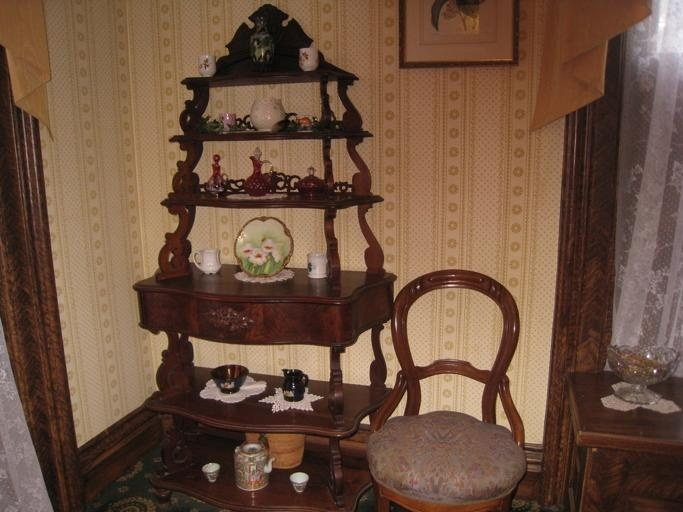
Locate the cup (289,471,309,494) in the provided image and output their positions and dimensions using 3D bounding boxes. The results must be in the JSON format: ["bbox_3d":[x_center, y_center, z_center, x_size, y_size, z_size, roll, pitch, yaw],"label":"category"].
[{"bbox_3d":[-0.243,1.307,3.525,0.114,0.084,0.140,2,6,-4],"label":"cup"}]

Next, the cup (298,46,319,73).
[{"bbox_3d":[-0.170,-1.096,3.404,0.136,0.164,0.139,0,11,0],"label":"cup"}]

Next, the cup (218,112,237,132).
[{"bbox_3d":[-0.652,-0.784,3.514,0.100,0.103,0.090,3,9,3],"label":"cup"}]

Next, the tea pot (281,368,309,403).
[{"bbox_3d":[-0.269,0.770,3.617,0.156,0.167,0.128,-1,7,-3],"label":"tea pot"}]

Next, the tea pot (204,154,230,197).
[{"bbox_3d":[-0.741,-0.502,3.686,0.137,0.245,0.144,1,14,0],"label":"tea pot"}]

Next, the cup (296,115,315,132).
[{"bbox_3d":[-0.205,-0.763,3.508,0.112,0.114,0.115,-1,12,0],"label":"cup"}]

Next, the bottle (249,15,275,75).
[{"bbox_3d":[-0.453,-1.203,3.447,0.133,0.321,0.091,-10,39,-17],"label":"bottle"}]

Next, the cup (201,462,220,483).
[{"bbox_3d":[-0.780,1.285,3.611,0.081,0.067,0.095,-1,-7,9],"label":"cup"}]

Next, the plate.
[{"bbox_3d":[-0.446,-0.055,3.590,0.311,0.342,0.045,11,-4,15],"label":"plate"}]

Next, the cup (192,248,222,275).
[{"bbox_3d":[-0.855,0.029,3.794,0.188,0.154,0.131,1,11,4],"label":"cup"}]

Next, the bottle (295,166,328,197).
[{"bbox_3d":[-0.155,-0.450,3.505,0.164,0.159,0.169,8,17,27],"label":"bottle"}]

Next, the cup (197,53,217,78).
[{"bbox_3d":[-0.757,-1.088,3.471,0.121,0.151,0.124,0,8,0],"label":"cup"}]

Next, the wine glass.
[{"bbox_3d":[1.499,0.568,3.041,0.291,0.288,0.281,0,-3,1],"label":"wine glass"}]

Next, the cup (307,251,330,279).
[{"bbox_3d":[-0.135,0.053,3.623,0.124,0.142,0.133,0,3,0],"label":"cup"}]

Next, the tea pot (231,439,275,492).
[{"bbox_3d":[-0.509,1.218,3.563,0.231,0.238,0.198,7,14,24],"label":"tea pot"}]

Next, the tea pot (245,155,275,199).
[{"bbox_3d":[-0.492,-0.474,3.577,0.160,0.225,0.164,1,13,0],"label":"tea pot"}]

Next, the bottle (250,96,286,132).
[{"bbox_3d":[-0.432,-0.817,3.508,0.189,0.189,0.184,-11,21,-29],"label":"bottle"}]
